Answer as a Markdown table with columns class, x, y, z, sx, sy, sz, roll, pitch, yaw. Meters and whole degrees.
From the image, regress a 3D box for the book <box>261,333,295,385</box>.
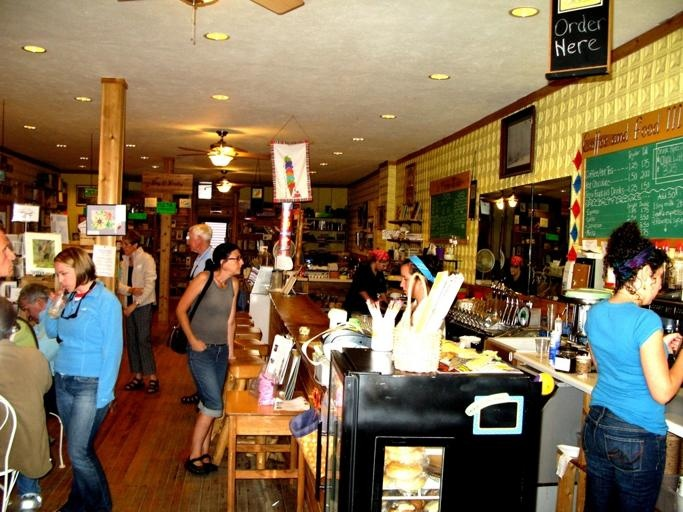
| class | x | y | z | sx | sy | sz | roll | pitch | yaw |
| --- | --- | --- | --- | --- | --- | --- | --- | --- | --- |
| book | -0.450 | 0.751 | 3.631 | 0.084 | 0.294 | 0.337 | 20 | -12 | -32 |

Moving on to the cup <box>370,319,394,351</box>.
| class | x | y | z | sx | sy | sz | roll | pitch | yaw |
| --- | --- | --- | --- | --- | --- | --- | --- | --- | --- |
| cup | 0.208 | 0.375 | 2.351 | 0.095 | 0.127 | 0.195 | 3 | -2 | -30 |

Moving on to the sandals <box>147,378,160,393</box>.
| class | x | y | z | sx | sy | sz | roll | pitch | yaw |
| --- | --- | --- | --- | --- | --- | --- | --- | --- | --- |
| sandals | -2.334 | 1.611 | 6.190 | 0.140 | 0.172 | 0.252 | 3 | -1 | -18 |

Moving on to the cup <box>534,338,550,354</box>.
| class | x | y | z | sx | sy | sz | roll | pitch | yaw |
| --- | --- | --- | --- | --- | --- | --- | --- | --- | --- |
| cup | 1.570 | 0.703 | 3.939 | 0.150 | 0.130 | 0.139 | 0 | 2 | 0 |

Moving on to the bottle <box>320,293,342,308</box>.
| class | x | y | z | sx | sy | sz | roll | pitch | yaw |
| --- | --- | --- | --- | --- | --- | --- | --- | --- | --- |
| bottle | -0.166 | 0.801 | 8.993 | 0.500 | 0.268 | 0.240 | 3 | -9 | -17 |

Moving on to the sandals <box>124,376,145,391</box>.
| class | x | y | z | sx | sy | sz | roll | pitch | yaw |
| --- | --- | --- | --- | --- | --- | --- | --- | --- | --- |
| sandals | -2.601 | 1.617 | 6.262 | 0.127 | 0.107 | 0.305 | 0 | -8 | -1 |

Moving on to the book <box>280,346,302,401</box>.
| class | x | y | z | sx | sy | sz | roll | pitch | yaw |
| --- | --- | --- | --- | --- | --- | --- | --- | --- | --- |
| book | -0.351 | 0.858 | 3.522 | 0.085 | 0.286 | 0.309 | 10 | -1 | -15 |

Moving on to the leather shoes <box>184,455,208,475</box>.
| class | x | y | z | sx | sy | sz | roll | pitch | yaw |
| --- | --- | --- | --- | --- | --- | --- | --- | --- | --- |
| leather shoes | -1.276 | 1.777 | 4.198 | 0.281 | 0.090 | 0.091 | 6 | 0 | -8 |

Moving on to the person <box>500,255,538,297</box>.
| class | x | y | z | sx | sy | sz | roll | pitch | yaw |
| --- | --- | --- | --- | --- | --- | --- | --- | --- | --- |
| person | 2.233 | 0.207 | 6.179 | 0.319 | 0.369 | 0.750 | 3 | 13 | -6 |

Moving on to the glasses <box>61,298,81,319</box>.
| class | x | y | z | sx | sy | sz | roll | pitch | yaw |
| --- | --- | --- | --- | --- | --- | --- | --- | --- | --- |
| glasses | -1.721 | 0.344 | 3.223 | 0.118 | 0.031 | 0.141 | -5 | 23 | 19 |

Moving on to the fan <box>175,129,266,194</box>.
| class | x | y | z | sx | sy | sz | roll | pitch | yaw |
| --- | --- | --- | --- | --- | --- | --- | --- | --- | --- |
| fan | -1.972 | -1.558 | 8.245 | 1.130 | 0.736 | 1.195 | 11 | 12 | 42 |

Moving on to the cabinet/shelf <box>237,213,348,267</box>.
| class | x | y | z | sx | sy | sz | roll | pitch | yaw |
| --- | --- | --- | --- | --- | --- | --- | --- | --- | --- |
| cabinet/shelf | -1.028 | -0.412 | 12.202 | 2.063 | 0.889 | 0.532 | 1 | 0 | -4 |

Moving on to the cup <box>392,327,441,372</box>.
| class | x | y | z | sx | sy | sz | roll | pitch | yaw |
| --- | --- | --- | --- | --- | --- | --- | --- | --- | --- |
| cup | 0.326 | 0.416 | 2.217 | 0.216 | 0.153 | 0.192 | -1 | 2 | -5 |

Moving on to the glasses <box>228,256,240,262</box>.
| class | x | y | z | sx | sy | sz | roll | pitch | yaw |
| --- | --- | --- | --- | --- | --- | --- | --- | --- | --- |
| glasses | -0.895 | 0.018 | 4.147 | 0.040 | 0.032 | 0.102 | 1 | -1 | 43 |

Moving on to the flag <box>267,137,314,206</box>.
| class | x | y | z | sx | sy | sz | roll | pitch | yaw |
| --- | --- | --- | --- | --- | --- | --- | --- | --- | --- |
| flag | -0.769 | -1.264 | 7.524 | 0.639 | 0.810 | 0.296 | 2 | -1 | -2 |

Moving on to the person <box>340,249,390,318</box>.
| class | x | y | z | sx | sy | sz | roll | pitch | yaw |
| --- | --- | --- | --- | --- | --- | --- | --- | --- | --- |
| person | 0.338 | 0.347 | 6.645 | 0.550 | 0.733 | 0.977 | 2 | -1 | 3 |

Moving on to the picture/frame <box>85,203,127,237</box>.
| class | x | y | z | sx | sy | sz | roll | pitch | yaw |
| --- | --- | --- | --- | --- | --- | --- | --- | --- | --- |
| picture/frame | -2.245 | -0.347 | 4.748 | 0.425 | 0.273 | 0.041 | 1 | -1 | -5 |

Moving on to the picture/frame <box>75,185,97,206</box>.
| class | x | y | z | sx | sy | sz | roll | pitch | yaw |
| --- | --- | --- | --- | --- | --- | --- | --- | --- | --- |
| picture/frame | -6.746 | -1.645 | 13.246 | 0.715 | 0.564 | 0.279 | 1 | -2 | 36 |
